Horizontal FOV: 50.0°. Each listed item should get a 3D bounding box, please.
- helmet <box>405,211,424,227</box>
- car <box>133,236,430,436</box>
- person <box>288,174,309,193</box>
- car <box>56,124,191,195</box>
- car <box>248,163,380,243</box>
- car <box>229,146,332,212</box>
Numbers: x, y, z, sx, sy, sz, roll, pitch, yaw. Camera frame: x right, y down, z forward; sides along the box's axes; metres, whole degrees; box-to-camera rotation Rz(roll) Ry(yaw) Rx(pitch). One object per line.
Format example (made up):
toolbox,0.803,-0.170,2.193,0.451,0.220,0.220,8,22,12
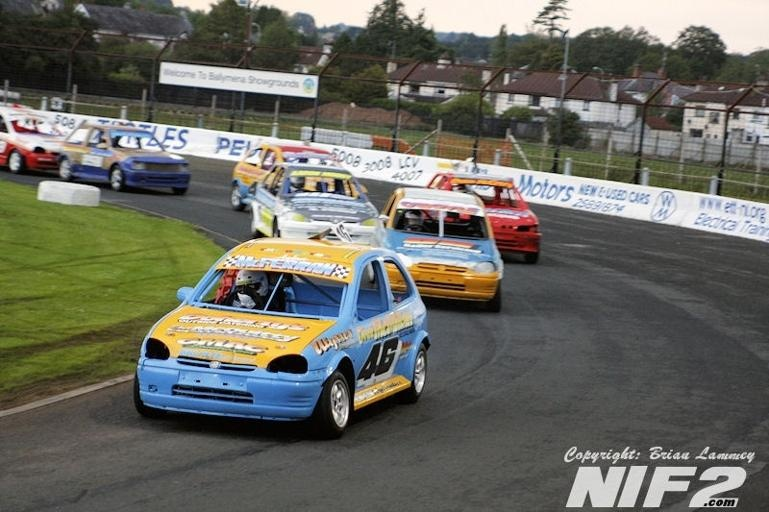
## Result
helmet,0.588,-0.740,16.041,0.366,0.333,0.362,5,-32,-3
car,-1.092,0.708,9.935,2.522,1.310,3.602,8,13,17
person,-1.997,-1.664,18.821,0.555,0.391,1.292,-1,4,-10
car,-8.156,-3.241,26.056,2.473,1.406,4.315,-8,19,-42
car,-1.747,-1.576,19.283,2.546,1.327,3.729,1,23,-26
car,-3.140,-2.341,23.275,1.973,1.128,3.016,-2,2,-36
